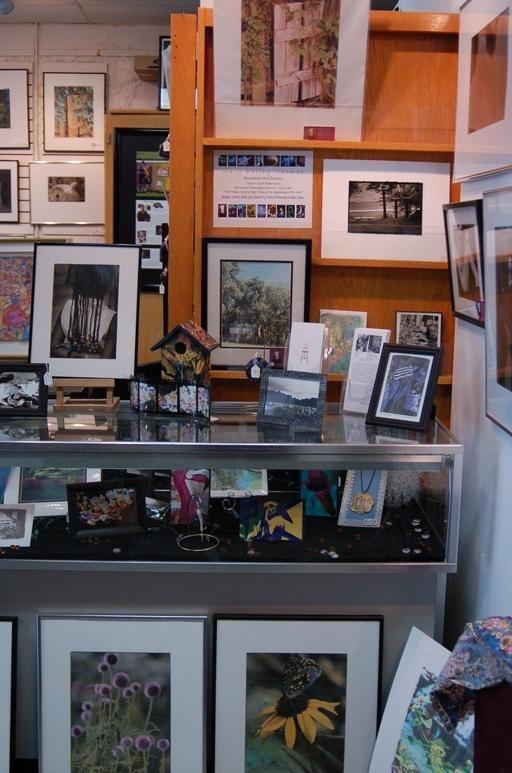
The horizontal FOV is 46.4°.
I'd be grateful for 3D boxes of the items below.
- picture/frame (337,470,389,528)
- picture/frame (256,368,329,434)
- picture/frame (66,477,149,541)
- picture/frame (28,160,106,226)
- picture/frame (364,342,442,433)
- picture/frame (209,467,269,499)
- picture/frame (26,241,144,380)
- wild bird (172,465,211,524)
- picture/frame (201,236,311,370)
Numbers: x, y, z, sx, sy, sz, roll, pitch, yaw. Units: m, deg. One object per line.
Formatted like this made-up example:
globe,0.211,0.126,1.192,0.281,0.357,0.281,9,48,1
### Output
picture/frame,0.310,0.319,1.727,0.112,0.016,0.217,-3,39,22
picture/frame,0.100,0.044,1.656,0.147,0.139,0.012,9,1,24
picture/frame,-0.432,0.348,1.693,0.154,0.143,0.012,-3,4,-7
picture/frame,-1.462,-1.531,4.673,0.537,0.447,0.020,1,3,-3
picture/frame,0.413,0.000,1.661,0.175,0.261,0.025,6,-23,32
picture/frame,-0.050,0.284,1.698,0.163,0.095,0.040,3,7,5
picture/frame,-0.532,-0.229,1.854,0.361,0.514,0.018,2,1,0
wild bird,-0.195,0.324,1.748,0.112,0.169,0.040,3,7,3
picture/frame,0.005,-0.313,2.089,0.428,0.584,0.045,1,9,4
